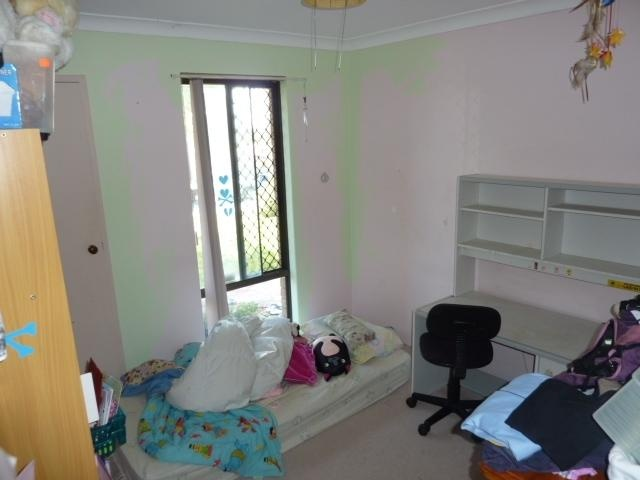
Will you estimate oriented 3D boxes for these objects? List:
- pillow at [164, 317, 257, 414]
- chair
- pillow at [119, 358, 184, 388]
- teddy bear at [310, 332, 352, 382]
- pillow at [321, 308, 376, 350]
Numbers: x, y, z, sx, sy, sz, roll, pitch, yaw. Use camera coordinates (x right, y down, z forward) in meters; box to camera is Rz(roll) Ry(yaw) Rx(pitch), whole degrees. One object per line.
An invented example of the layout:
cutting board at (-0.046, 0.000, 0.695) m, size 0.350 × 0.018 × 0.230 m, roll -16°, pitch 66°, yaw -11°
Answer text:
pillow at (-0.674, 0.879, 3.165) m, size 0.549 × 0.256 × 0.688 m, roll 8°, pitch 34°, yaw 15°
chair at (0.906, 0.854, 3.268) m, size 0.581 × 0.950 × 0.370 m, roll 0°, pitch 13°, yaw 11°
pillow at (-1.228, 0.950, 3.381) m, size 0.356 × 0.089 × 0.213 m, roll -14°, pitch 8°, yaw -35°
teddy bear at (0.076, 0.867, 3.582) m, size 0.293 × 0.149 × 0.406 m, roll -9°, pitch 39°, yaw -6°
pillow at (0.242, 0.738, 3.942) m, size 0.318 × 0.141 × 0.442 m, roll -12°, pitch 33°, yaw -35°
